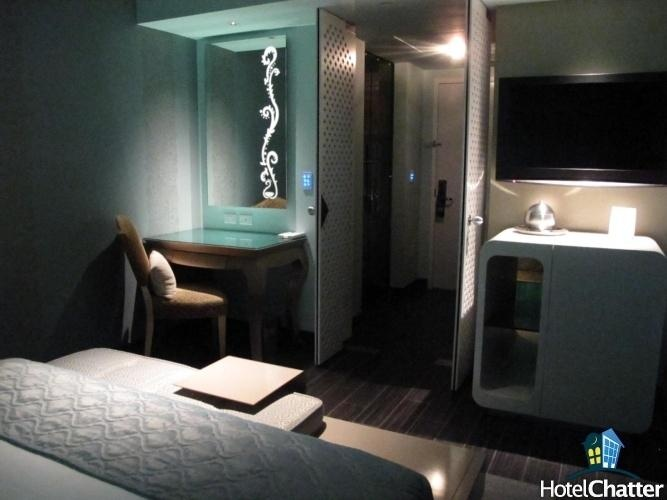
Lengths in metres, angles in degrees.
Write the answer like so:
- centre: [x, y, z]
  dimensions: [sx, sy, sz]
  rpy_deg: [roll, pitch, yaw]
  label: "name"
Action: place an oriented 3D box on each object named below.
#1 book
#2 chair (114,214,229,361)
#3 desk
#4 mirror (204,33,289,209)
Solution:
- centre: [-0.470, 0.673, 2.507]
  dimensions: [0.283, 0.058, 0.294]
  rpy_deg: [6, 12, 23]
  label: "book"
- centre: [-1.229, 0.258, 3.940]
  dimensions: [0.836, 1.150, 0.712]
  rpy_deg: [0, 20, -18]
  label: "chair"
- centre: [-0.875, 0.297, 4.228]
  dimensions: [1.132, 0.856, 0.696]
  rpy_deg: [5, 14, 30]
  label: "desk"
- centre: [-0.766, -1.078, 4.361]
  dimensions: [0.875, 1.386, 0.151]
  rpy_deg: [7, 13, 25]
  label: "mirror"
